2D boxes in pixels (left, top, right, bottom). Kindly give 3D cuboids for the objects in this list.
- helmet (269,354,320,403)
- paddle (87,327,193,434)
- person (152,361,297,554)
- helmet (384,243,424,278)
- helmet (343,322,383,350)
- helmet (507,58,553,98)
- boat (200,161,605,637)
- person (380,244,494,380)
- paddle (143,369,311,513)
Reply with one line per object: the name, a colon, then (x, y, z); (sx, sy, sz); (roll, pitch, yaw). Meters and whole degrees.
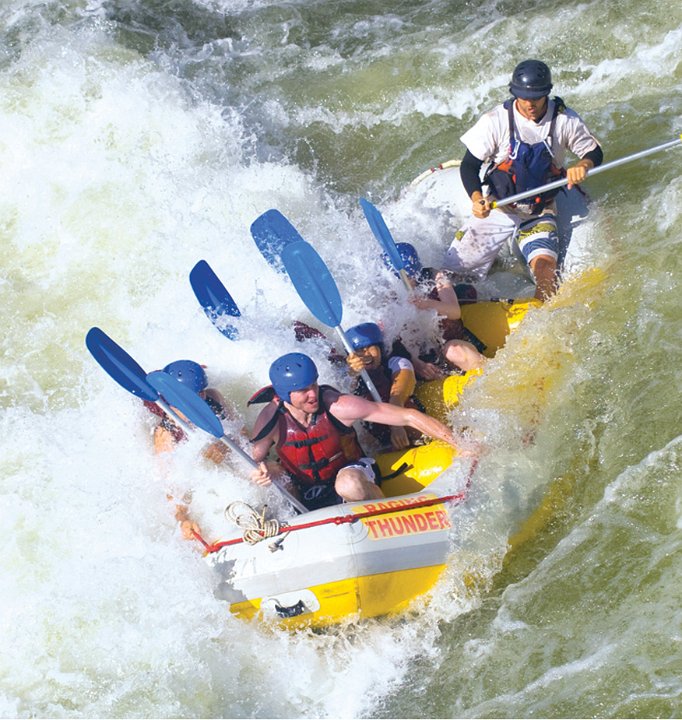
helmet: (-0.310, 0.111, 7.310); (0.408, 0.282, 0.280); (1, 39, 45)
paddle: (-1.587, 0.189, 8.330); (1.443, 0.118, 0.244); (36, 88, 0)
person: (-0.851, 0.754, 7.612); (0.234, 2.242, 0.198); (-56, 25, -12)
helmet: (0.542, -0.782, 8.246); (0.275, 0.091, 0.274); (-4, 90, 18)
helmet: (0.188, -0.186, 7.863); (0.208, 0.192, 0.227); (-25, 71, 1)
helmet: (1.336, -1.971, 7.436); (0.286, 0.155, 0.284); (7, 54, 14)
boat: (0.545, 0.662, 7.610); (1.699, 0.935, 2.882); (31, 97, 4)
person: (0.722, -0.345, 8.035); (0.449, 0.595, 1.200); (-46, 18, -6)
paddle: (-0.826, 0.623, 7.665); (0.188, 1.788, 0.162); (-53, 30, -2)
